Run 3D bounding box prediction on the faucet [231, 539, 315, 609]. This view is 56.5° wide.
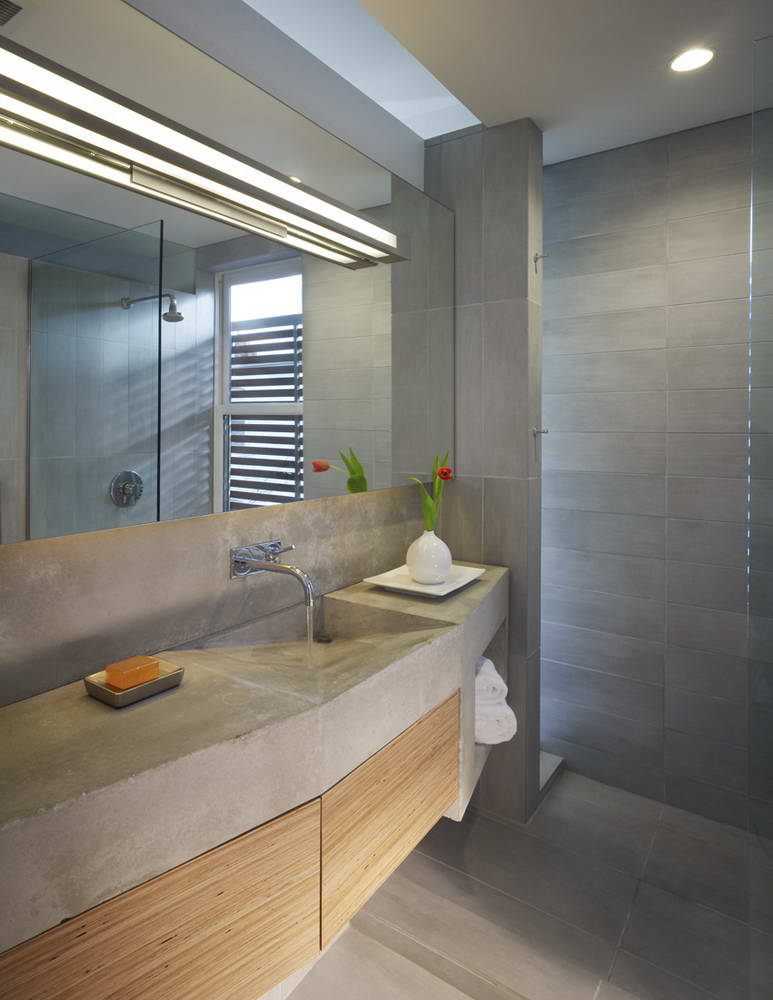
[{"bbox_3d":[-0.251,0.127,1.682,0.164,0.101,0.150,13,13,35],"label":"faucet"}]

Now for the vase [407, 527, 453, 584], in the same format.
[{"bbox_3d":[0.122,0.169,2.122,0.106,0.165,0.132,0,-8,3],"label":"vase"}]

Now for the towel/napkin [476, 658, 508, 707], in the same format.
[{"bbox_3d":[0.298,0.515,2.007,0.022,0.125,0.095,-11,-15,33],"label":"towel/napkin"}]

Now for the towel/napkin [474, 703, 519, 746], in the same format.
[{"bbox_3d":[0.298,0.616,1.976,0.095,0.134,0.025,2,-1,-30],"label":"towel/napkin"}]
